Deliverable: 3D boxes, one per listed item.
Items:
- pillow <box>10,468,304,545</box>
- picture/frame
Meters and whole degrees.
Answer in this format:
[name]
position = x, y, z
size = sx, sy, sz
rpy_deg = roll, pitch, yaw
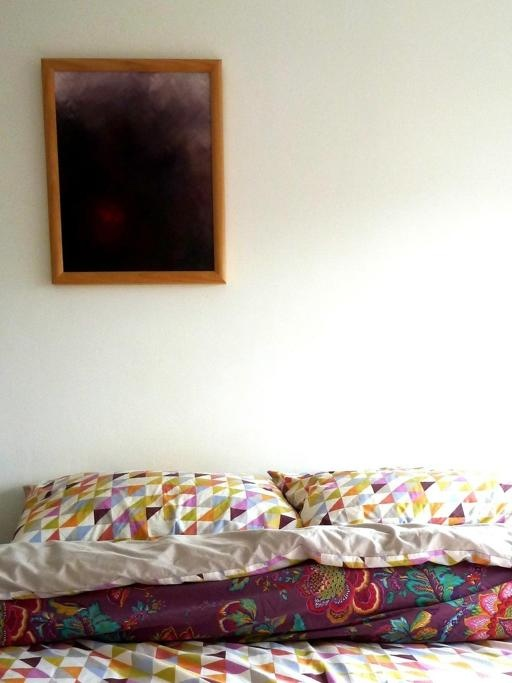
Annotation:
[pillow]
position = -0.295, 0.506, 1.871
size = 0.572, 0.090, 0.326
rpy_deg = -1, 11, -8
[picture/frame]
position = -0.435, -0.603, 2.195
size = 0.624, 0.785, 0.070
rpy_deg = 1, 1, -3
